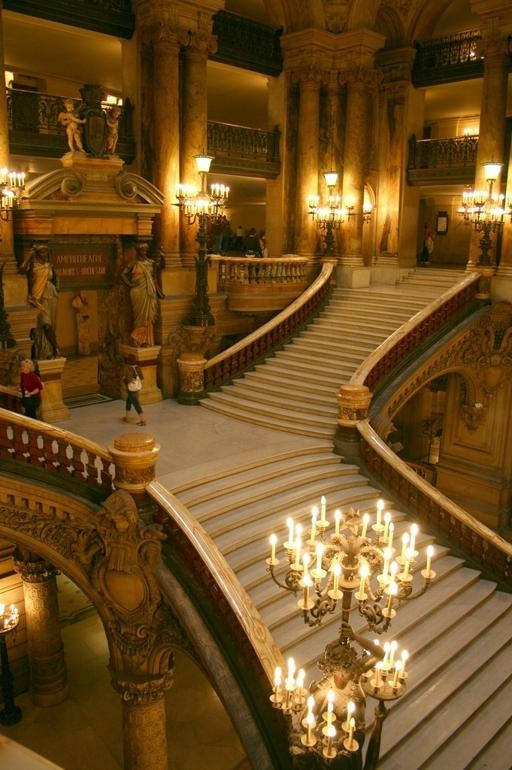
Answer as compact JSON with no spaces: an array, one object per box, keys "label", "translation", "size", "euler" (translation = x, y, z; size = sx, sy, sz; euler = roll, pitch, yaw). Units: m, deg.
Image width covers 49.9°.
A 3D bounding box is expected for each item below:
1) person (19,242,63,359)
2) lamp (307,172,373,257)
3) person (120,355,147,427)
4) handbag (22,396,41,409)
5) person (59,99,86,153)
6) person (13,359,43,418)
[{"label":"person","translation":[-3.528,-1.376,9.150],"size":[0.305,1.882,0.568],"euler":[10,16,39]},{"label":"lamp","translation":[1.890,-4.305,13.947],"size":[1.592,1.605,1.527],"euler":[-9,17,-43]},{"label":"person","translation":[-2.196,0.089,9.798],"size":[0.374,1.121,1.489],"euler":[-3,13,-14]},{"label":"handbag","translation":[-3.156,0.252,7.744],"size":[0.177,0.187,0.192],"euler":[12,22,24]},{"label":"person","translation":[-3.112,-4.407,9.342],"size":[0.371,0.872,0.329],"euler":[-11,16,-41]},{"label":"person","translation":[-3.240,0.069,7.907],"size":[0.293,0.868,0.594],"euler":[-6,13,-23]}]
